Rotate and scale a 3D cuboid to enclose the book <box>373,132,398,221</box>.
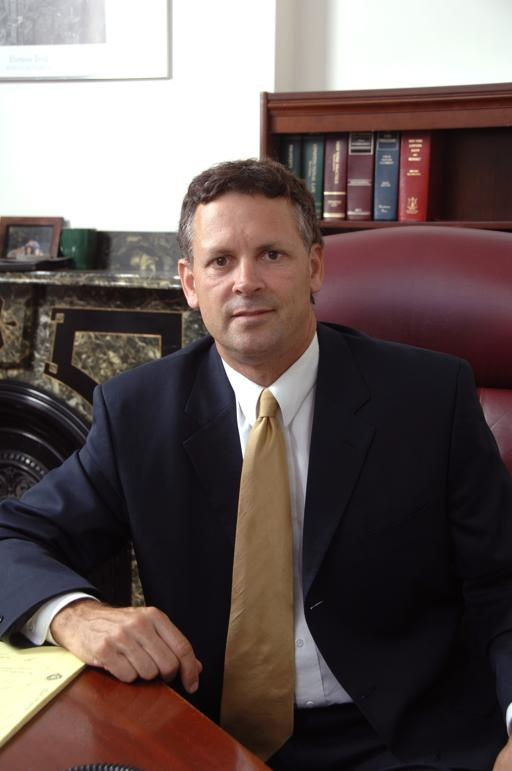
[{"bbox_3d":[0.400,-0.658,1.936,0.066,0.191,0.193,1,30,7],"label":"book"}]

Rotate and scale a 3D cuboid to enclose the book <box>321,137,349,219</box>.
[{"bbox_3d":[0.259,-0.704,2.114,0.094,0.288,0.291,5,17,8],"label":"book"}]

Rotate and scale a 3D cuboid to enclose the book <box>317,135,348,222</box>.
[{"bbox_3d":[0.206,-0.700,2.099,0.085,0.258,0.267,-9,26,-17],"label":"book"}]

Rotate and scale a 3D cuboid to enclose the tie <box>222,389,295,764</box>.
[{"bbox_3d":[0.017,0.262,0.894,0.100,0.438,0.130,5,2,-1],"label":"tie"}]

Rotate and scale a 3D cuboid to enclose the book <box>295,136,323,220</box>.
[{"bbox_3d":[0.186,-0.702,2.102,0.072,0.215,0.221,2,12,4],"label":"book"}]
